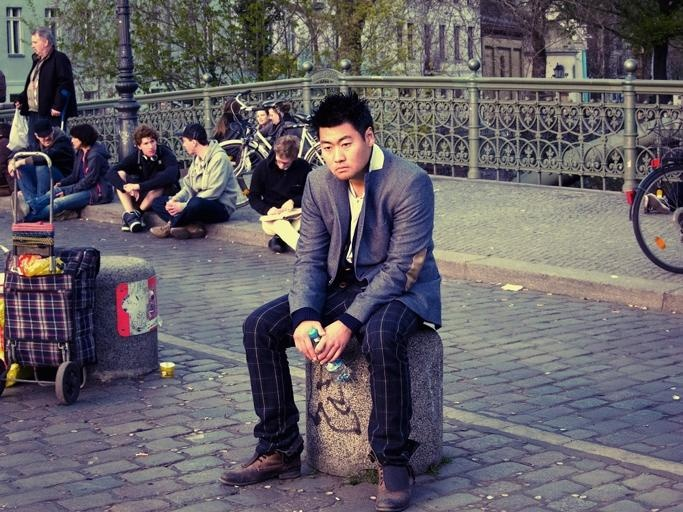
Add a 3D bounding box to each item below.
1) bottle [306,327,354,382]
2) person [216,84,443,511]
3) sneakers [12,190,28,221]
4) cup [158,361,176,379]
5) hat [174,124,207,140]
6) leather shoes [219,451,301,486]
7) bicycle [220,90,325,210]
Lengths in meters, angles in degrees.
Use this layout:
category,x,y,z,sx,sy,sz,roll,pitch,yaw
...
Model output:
category,x,y,z,sx,sy,sz,roll,pitch,yaw
bottle,-0.059,0.550,5.021,0.221,0.311,0.086,-1,12,-1
person,-0.006,0.186,5.074,1.057,2.067,0.850,0,12,7
sneakers,-2.300,-0.348,6.713,0.129,0.303,0.102,-1,0,-10
cup,-1.244,0.819,6.683,0.103,0.078,0.097,-3,7,0
hat,-1.903,-1.579,12.173,0.294,0.232,0.362,-3,12,-11
leather shoes,-0.430,1.140,5.182,0.459,0.199,0.163,-3,8,-18
bicycle,-1.225,-1.715,14.645,2.337,1.455,1.244,-2,11,12
